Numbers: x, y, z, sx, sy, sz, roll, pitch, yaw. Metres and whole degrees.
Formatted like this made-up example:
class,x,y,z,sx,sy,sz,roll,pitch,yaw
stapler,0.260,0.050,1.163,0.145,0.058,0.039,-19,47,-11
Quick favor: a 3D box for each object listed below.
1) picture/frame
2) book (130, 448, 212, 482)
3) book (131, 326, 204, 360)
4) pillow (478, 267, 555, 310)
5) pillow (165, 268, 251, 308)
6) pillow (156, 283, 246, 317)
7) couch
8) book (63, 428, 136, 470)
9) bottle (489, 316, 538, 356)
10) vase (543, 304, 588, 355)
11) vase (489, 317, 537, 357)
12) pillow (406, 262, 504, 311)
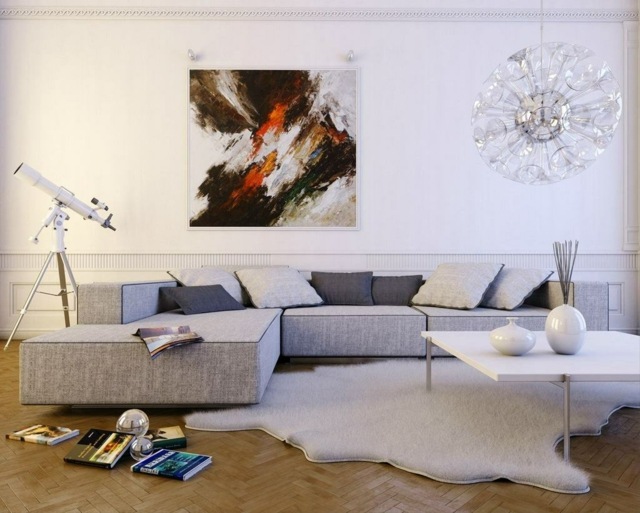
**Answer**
class,x,y,z,sx,sy,sz,roll,pitch,yaw
picture/frame,-0.523,-0.983,5.827,1.673,1.615,0.029,0,0,2
book,-0.796,1.125,3.275,0.400,0.090,0.173,0,3,15
book,-0.955,0.525,3.815,0.399,0.149,0.255,-2,3,-21
pillow,1.565,0.246,4.894,0.386,0.127,0.412,-47,20,-15
pillow,-1.019,0.270,5.211,0.798,0.327,0.518,2,-3,-40
pillow,-0.930,0.319,4.742,0.632,0.270,0.424,2,-2,-38
couch,-0.364,0.735,6.531,5.402,1.247,2.496,0,-2,1
book,-1.222,1.072,3.386,0.272,0.045,0.319,5,16,4
bottle,1.162,0.447,3.640,0.212,0.239,0.218,5,3,30
vase,1.459,0.429,3.704,0.254,0.337,0.264,1,3,29
vase,1.120,0.482,3.552,0.216,0.186,0.225,0,1,26
pillow,1.085,0.252,5.025,0.639,0.443,0.562,0,-2,28
